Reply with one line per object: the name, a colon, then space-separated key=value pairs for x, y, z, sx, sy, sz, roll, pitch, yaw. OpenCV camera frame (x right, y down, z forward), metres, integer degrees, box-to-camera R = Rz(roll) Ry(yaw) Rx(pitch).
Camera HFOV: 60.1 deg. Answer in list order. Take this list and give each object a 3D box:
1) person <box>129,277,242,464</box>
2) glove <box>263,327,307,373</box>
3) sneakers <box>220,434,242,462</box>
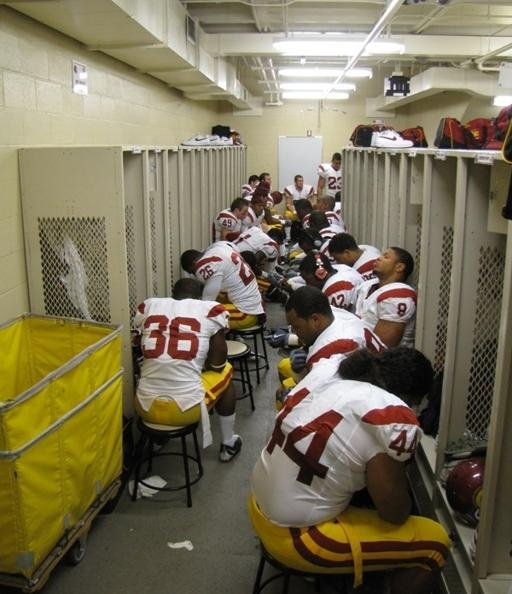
person: x=-0.402 y=0.468 z=2.722 sx=0.762 sy=1.112 sz=0.823 roll=-3 pitch=7 yaw=-30
glove: x=0.159 y=0.356 z=2.869 sx=0.135 sy=0.349 sz=0.345 roll=-27 pitch=-3 yaw=10
sneakers: x=-0.158 y=0.942 z=2.783 sx=0.070 sy=0.080 sz=0.206 roll=1 pitch=12 yaw=14
